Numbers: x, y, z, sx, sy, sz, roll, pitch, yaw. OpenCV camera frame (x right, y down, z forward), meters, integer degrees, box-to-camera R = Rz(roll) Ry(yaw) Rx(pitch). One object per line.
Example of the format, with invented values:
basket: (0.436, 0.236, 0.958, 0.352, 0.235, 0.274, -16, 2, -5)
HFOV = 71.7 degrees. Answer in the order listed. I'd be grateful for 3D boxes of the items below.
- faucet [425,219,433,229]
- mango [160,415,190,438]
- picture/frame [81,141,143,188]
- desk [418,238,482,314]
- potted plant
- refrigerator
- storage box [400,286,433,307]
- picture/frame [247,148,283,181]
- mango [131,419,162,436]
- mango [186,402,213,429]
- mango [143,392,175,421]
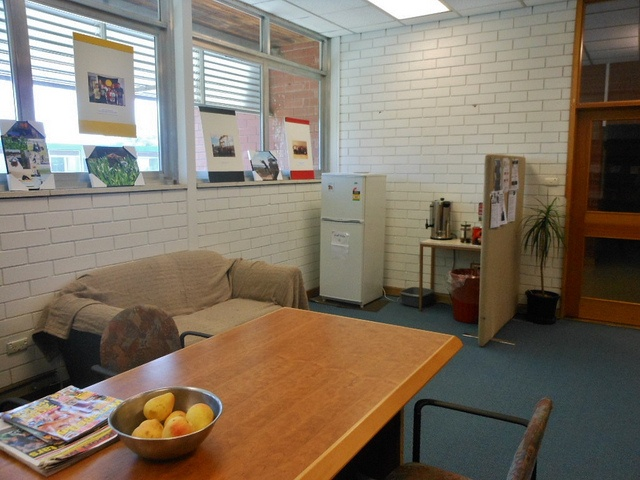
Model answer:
faucet: (1.351, -0.193, 5.494, 0.146, 0.156, 0.044, -5, 11, -24)
mango: (-0.444, 0.582, 1.368, 0.058, 0.076, 0.059, 17, 13, 24)
picture/frame: (-1.715, -0.609, 3.605, 0.037, 0.304, 0.391, -5, 5, 31)
desk: (1.625, 0.392, 5.270, 0.776, 0.770, 0.609, 2, 12, 26)
potted plant: (2.453, 0.220, 4.915, 0.455, 1.354, 0.443, 6, 14, 25)
refrigerator: (0.408, -0.010, 5.520, 0.808, 1.620, 0.592, 1, 13, 1)
storage box: (1.230, 0.710, 5.513, 0.233, 0.121, 0.301, 4, 8, 32)
picture/frame: (-0.664, -0.877, 5.153, 0.057, 0.315, 0.433, -16, -2, 35)
mango: (-0.537, 0.591, 1.371, 0.051, 0.055, 0.070, 18, 13, 26)
mango: (-0.376, 0.568, 1.405, 0.088, 0.051, 0.096, -7, 15, -29)
mango: (-0.534, 0.556, 1.470, 0.092, 0.069, 0.068, -32, 6, -17)
